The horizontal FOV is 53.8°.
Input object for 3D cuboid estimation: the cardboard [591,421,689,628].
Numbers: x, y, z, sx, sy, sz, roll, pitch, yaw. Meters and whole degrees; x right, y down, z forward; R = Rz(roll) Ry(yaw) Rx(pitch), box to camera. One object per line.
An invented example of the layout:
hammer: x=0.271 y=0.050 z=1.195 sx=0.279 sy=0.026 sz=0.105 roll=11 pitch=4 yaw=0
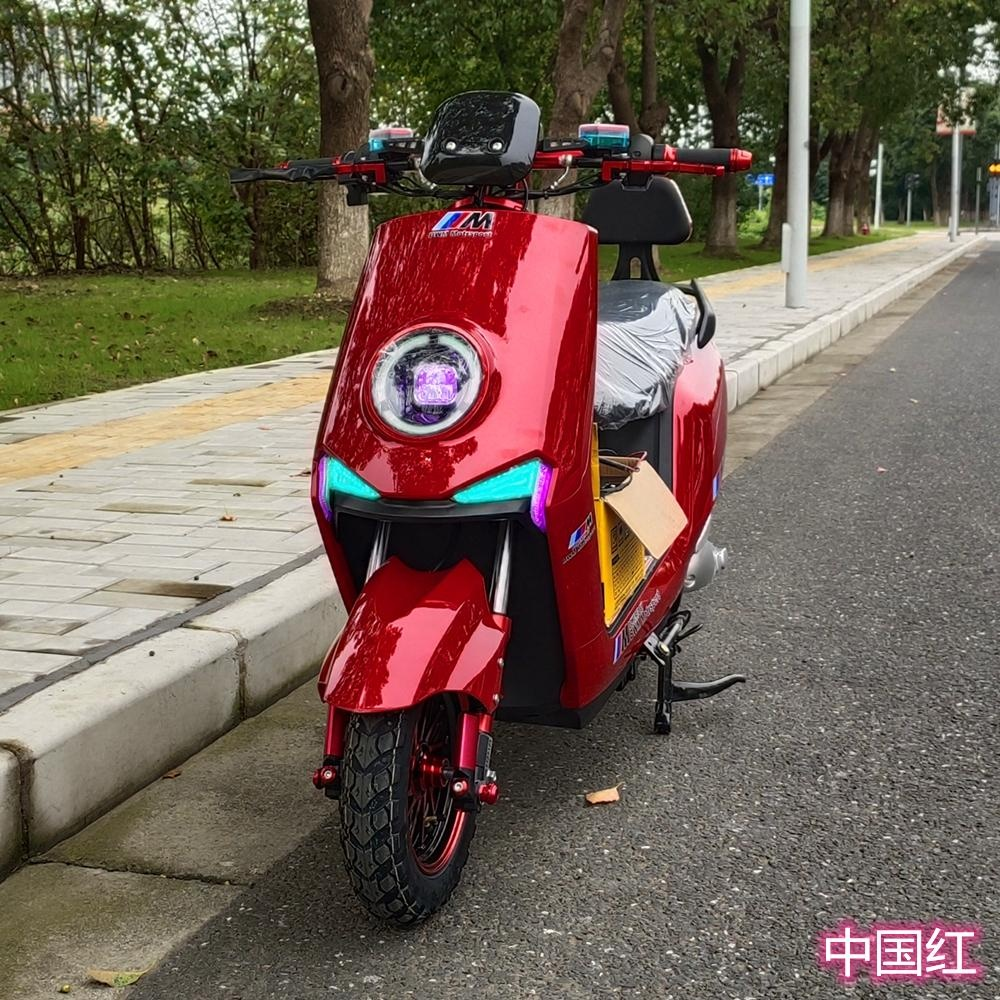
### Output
cardboard: x=0.373 y=0.109 z=2.713 sx=0.292 sy=0.361 sz=0.553 roll=0 pitch=10 yaw=16

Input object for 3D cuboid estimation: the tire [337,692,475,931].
tire: x=-0.180 y=0.609 z=1.963 sx=0.171 sy=0.478 sz=0.395 roll=1 pitch=9 yaw=17

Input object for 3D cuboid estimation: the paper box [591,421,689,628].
paper box: x=0.372 y=0.118 z=2.683 sx=0.280 sy=0.328 sz=0.509 roll=-2 pitch=8 yaw=18

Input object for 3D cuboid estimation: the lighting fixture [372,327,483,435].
lighting fixture: x=-0.157 y=-0.236 z=2.066 sx=0.055 sy=0.241 sz=0.268 roll=14 pitch=29 yaw=42
